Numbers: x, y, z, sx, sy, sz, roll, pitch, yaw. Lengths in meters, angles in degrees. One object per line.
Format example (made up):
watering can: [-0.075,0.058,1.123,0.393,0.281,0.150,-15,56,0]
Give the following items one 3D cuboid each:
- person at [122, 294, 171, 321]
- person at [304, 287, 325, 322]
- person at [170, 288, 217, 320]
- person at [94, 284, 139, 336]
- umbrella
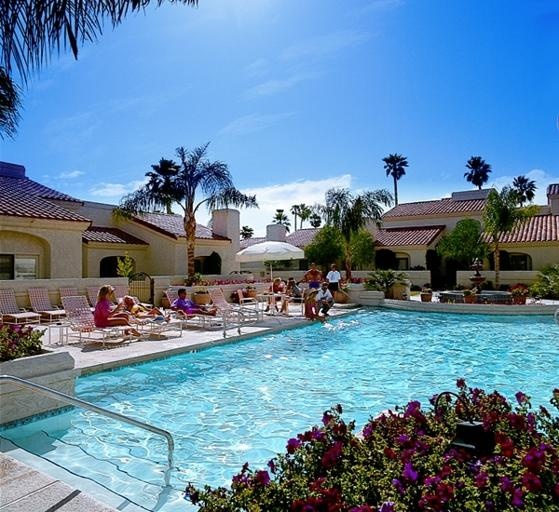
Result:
person: [-3.893,1.574,12.173,2.135,0.802,0.906,-6,-6,38]
person: [1.079,1.672,14.260,0.879,1.327,0.992,-2,0,-10]
person: [-2.707,1.501,12.930,1.254,0.743,0.853,1,-2,7]
person: [-4.034,1.356,10.131,0.912,1.271,1.353,-3,-2,-24]
umbrella: [-0.614,0.705,24.029,3.472,2.018,3.240,-1,0,0]
